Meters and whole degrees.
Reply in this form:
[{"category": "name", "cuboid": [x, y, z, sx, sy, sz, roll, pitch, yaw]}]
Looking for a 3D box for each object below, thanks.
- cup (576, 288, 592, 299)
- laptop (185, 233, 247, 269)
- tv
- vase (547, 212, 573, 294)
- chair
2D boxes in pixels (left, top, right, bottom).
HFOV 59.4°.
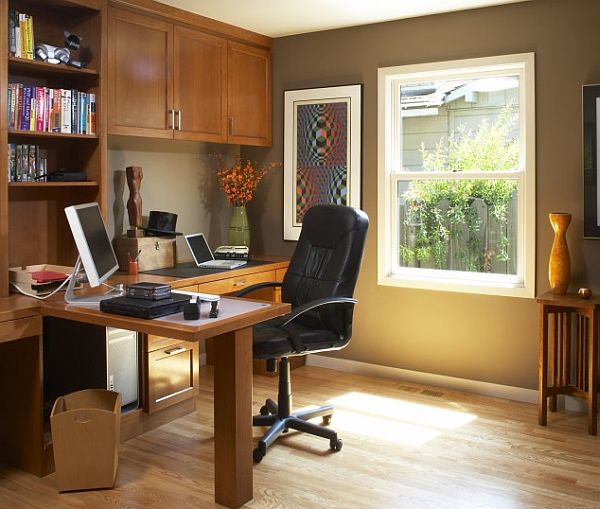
[{"category": "cup", "cuboid": [1.778, 0.238, 3.279, 0.075, 0.061, 0.125, 4, 7, 30]}, {"category": "laptop", "cuboid": [-0.693, -0.004, 4.001, 0.440, 0.233, 0.440, 0, -4, 25]}, {"category": "tv", "cuboid": [-1.131, 0.014, 2.835, 0.292, 0.567, 0.551, 0, 5, -8]}, {"category": "vase", "cuboid": [1.673, -0.004, 3.392, 0.132, 0.513, 0.113, 3, 7, 26]}, {"category": "chair", "cuboid": [-0.063, 0.423, 3.151, 0.788, 1.399, 0.738, -2, 6, -40]}]
